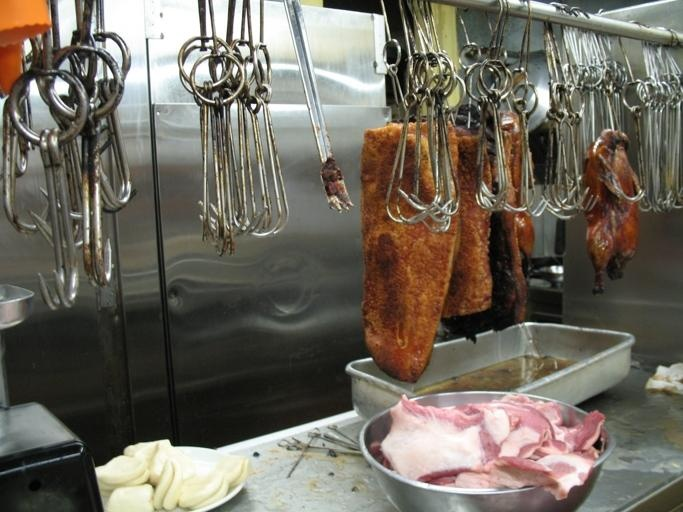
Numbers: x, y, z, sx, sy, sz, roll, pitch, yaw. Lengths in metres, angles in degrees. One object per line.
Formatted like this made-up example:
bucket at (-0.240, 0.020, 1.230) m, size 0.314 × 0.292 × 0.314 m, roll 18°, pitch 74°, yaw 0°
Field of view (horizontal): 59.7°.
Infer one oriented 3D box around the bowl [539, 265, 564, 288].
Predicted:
bowl at (1.475, 0.131, 4.158) m, size 0.151 × 0.095 × 0.152 m, roll -1°, pitch 11°, yaw 0°
